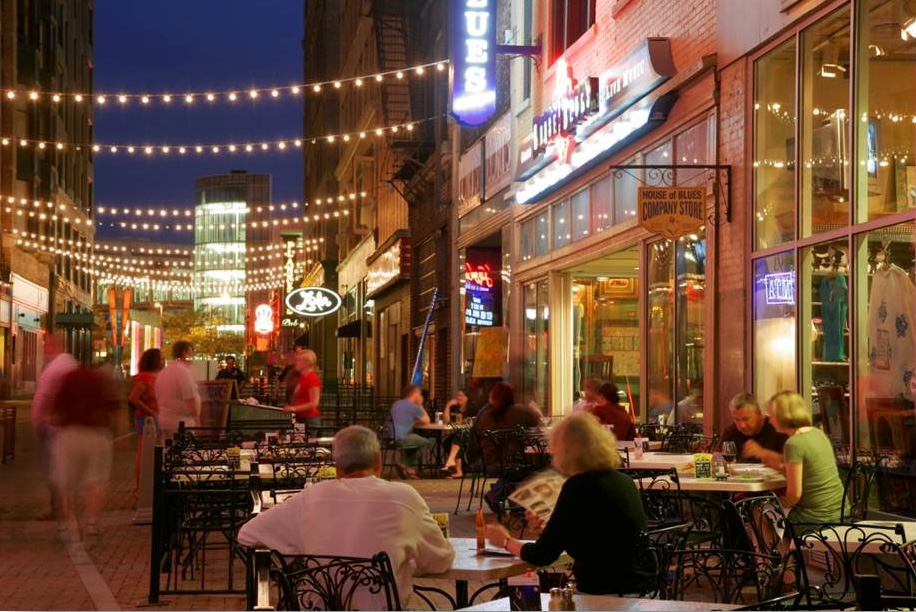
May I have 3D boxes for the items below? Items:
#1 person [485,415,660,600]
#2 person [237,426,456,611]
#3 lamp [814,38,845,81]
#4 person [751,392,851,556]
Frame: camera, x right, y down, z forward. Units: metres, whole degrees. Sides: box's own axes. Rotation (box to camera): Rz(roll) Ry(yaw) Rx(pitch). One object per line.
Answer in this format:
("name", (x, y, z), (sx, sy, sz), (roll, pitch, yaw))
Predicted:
("person", (0.923, 2.010, 8.065), (1.332, 2.178, 1.093), (-7, -10, 39))
("person", (-0.781, 1.583, 7.388), (1.479, 1.363, 0.454), (-1, -6, -2))
("lamp", (4.802, -3.135, 12.707), (0.386, 0.489, 0.410), (-1, -12, 16))
("person", (3.559, 1.532, 10.045), (0.656, 1.332, 0.438), (-3, -6, 15))
